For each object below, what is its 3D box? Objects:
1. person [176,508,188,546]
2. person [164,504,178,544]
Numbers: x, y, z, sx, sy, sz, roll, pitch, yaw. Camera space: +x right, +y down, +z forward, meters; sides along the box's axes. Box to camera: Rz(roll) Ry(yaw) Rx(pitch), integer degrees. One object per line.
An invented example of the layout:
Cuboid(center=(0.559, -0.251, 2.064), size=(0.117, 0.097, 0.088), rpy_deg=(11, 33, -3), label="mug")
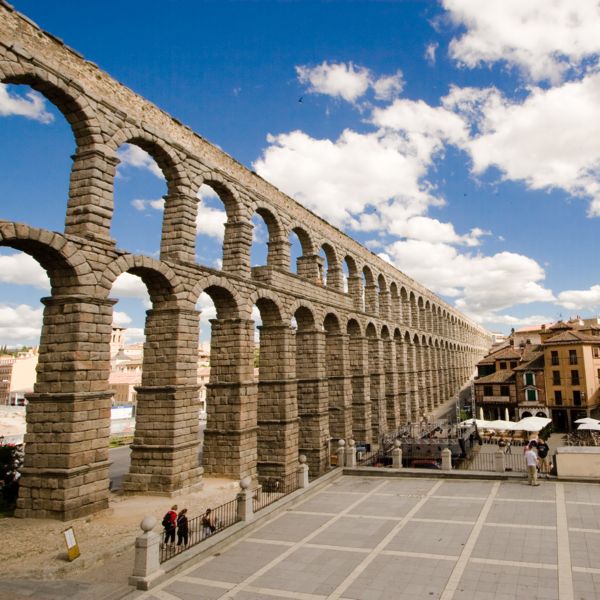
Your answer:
Cuboid(center=(-3.353, 6.614, 14.845), size=(0.349, 1.141, 0.913), rpy_deg=(3, -6, -12), label="person")
Cuboid(center=(-3.682, 6.511, 14.673), size=(0.404, 1.202, 1.214), rpy_deg=(3, -6, -12), label="person")
